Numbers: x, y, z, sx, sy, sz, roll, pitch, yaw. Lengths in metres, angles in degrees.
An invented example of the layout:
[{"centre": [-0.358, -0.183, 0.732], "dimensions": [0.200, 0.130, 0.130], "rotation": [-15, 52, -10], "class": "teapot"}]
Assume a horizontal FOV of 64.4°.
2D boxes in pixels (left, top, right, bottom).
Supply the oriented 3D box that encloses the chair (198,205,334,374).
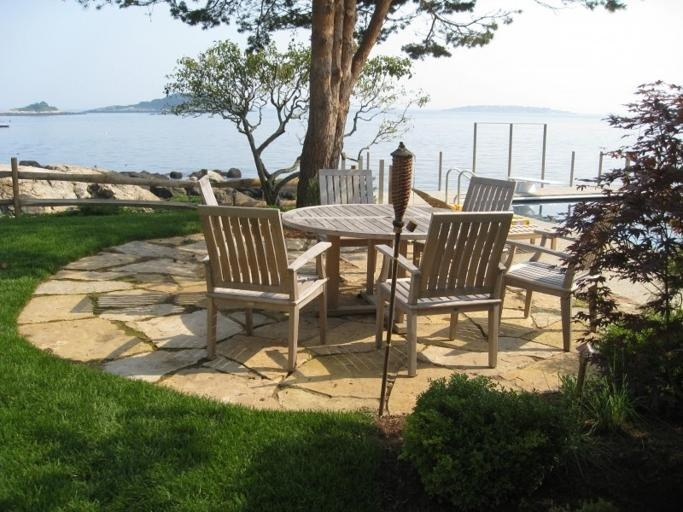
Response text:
[{"centre": [-0.631, 0.206, 4.563], "dimensions": [1.196, 1.031, 1.079], "rotation": [0, 2, -29], "class": "chair"}]
